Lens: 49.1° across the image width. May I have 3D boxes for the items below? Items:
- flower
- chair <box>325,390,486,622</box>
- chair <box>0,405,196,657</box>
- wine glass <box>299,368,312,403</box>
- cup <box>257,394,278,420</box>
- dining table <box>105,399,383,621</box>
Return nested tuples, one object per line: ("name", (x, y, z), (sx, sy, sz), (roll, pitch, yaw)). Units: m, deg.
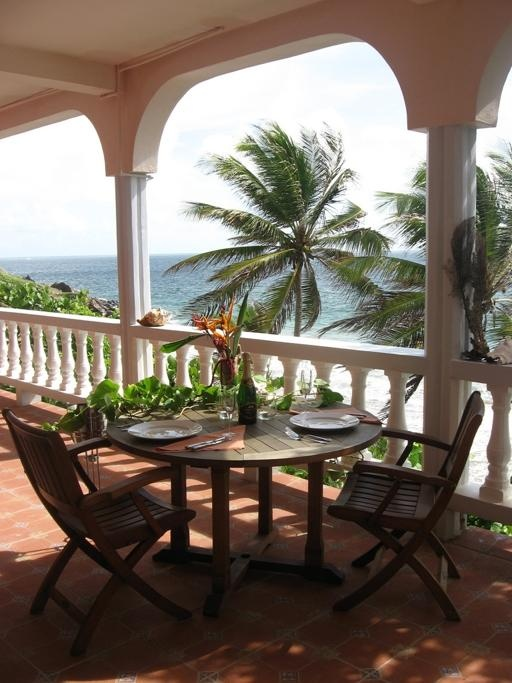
("flower", (-0.149, 0.038, 2.685), (0.529, 0.494, 0.525), (-3, 13, 3))
("chair", (0.588, 0.627, 2.214), (0.546, 0.707, 0.570), (2, 2, 21))
("chair", (-0.599, 0.574, 2.423), (0.842, 1.052, 0.851), (-5, 10, -33))
("wine glass", (0.231, 0.197, 2.569), (0.052, 0.156, 0.062), (-1, 4, 6))
("cup", (0.039, 0.278, 2.422), (0.105, 0.105, 0.102), (-1, 1, 0))
("dining table", (-0.026, 0.613, 2.215), (0.903, 0.492, 0.875), (2, 7, 19))
